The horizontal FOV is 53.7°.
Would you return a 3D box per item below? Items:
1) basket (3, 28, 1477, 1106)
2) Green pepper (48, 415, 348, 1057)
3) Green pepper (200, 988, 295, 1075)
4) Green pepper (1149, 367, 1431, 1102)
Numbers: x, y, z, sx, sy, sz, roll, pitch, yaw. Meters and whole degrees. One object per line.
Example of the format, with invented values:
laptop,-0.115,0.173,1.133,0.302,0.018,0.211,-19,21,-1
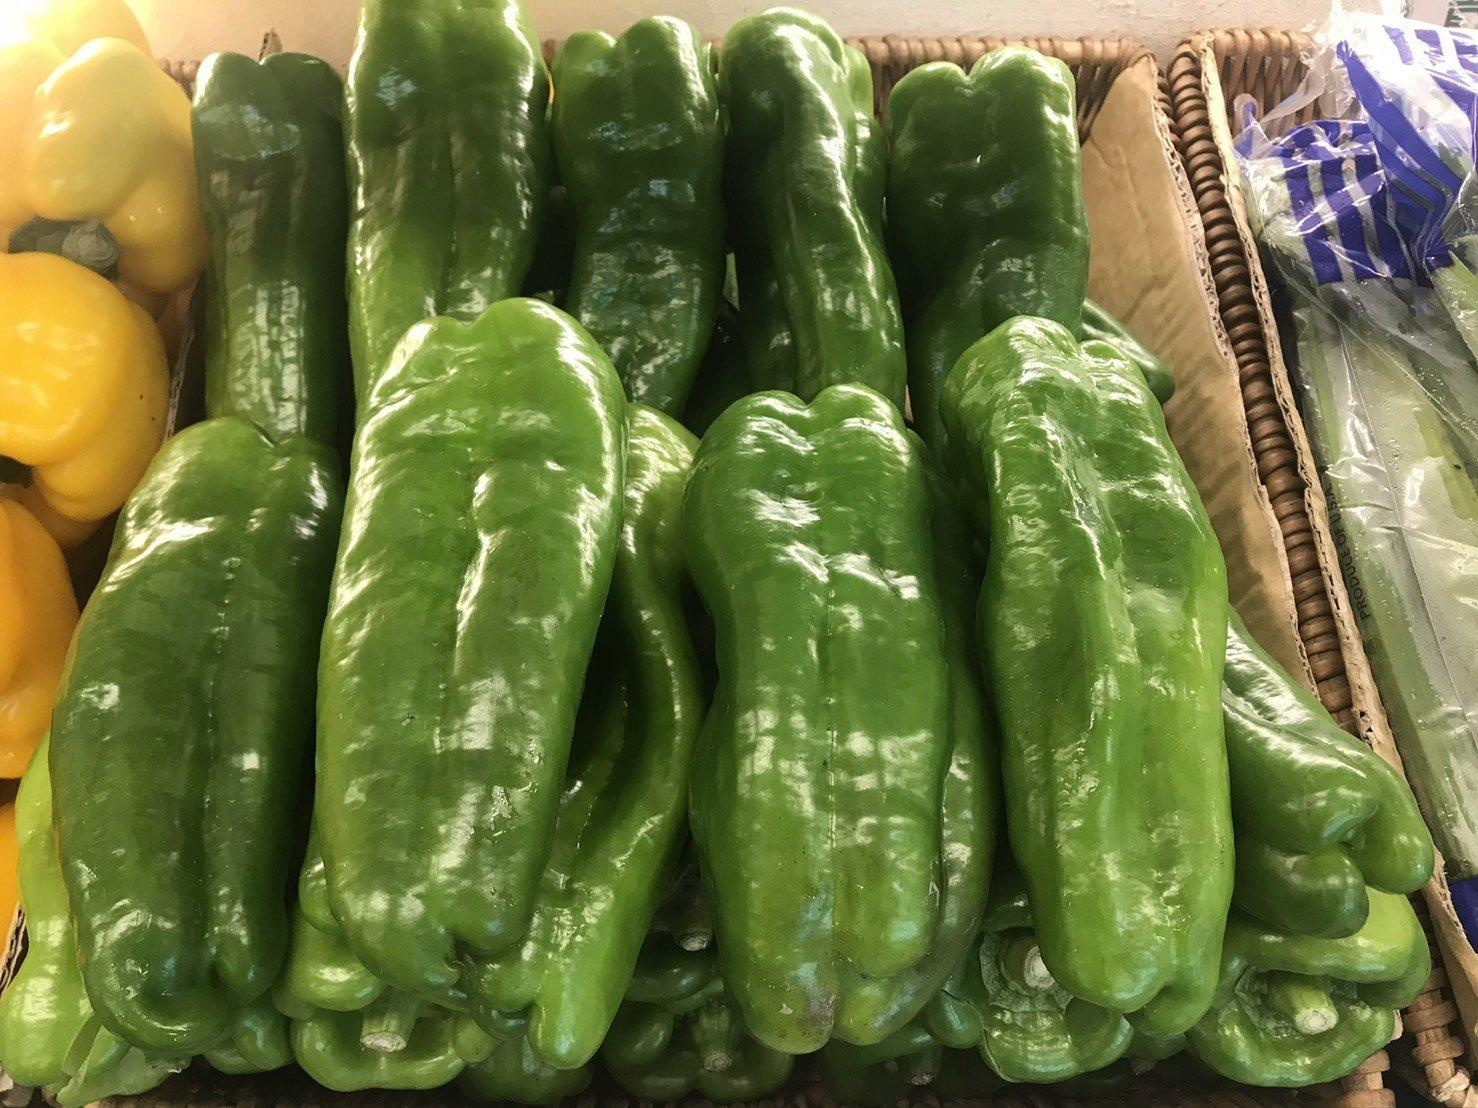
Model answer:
basket,0.108,0.154,1.584,1.296,1.505,0.385,2,-24,-1
Green pepper,-0.577,0.207,1.541,0.200,0.730,0.226,-12,-33,22
Green pepper,-0.520,0.526,1.576,0.065,0.114,0.081,21,-43,-18
Green pepper,0.590,0.272,1.676,0.246,0.494,0.224,-4,-47,-6
